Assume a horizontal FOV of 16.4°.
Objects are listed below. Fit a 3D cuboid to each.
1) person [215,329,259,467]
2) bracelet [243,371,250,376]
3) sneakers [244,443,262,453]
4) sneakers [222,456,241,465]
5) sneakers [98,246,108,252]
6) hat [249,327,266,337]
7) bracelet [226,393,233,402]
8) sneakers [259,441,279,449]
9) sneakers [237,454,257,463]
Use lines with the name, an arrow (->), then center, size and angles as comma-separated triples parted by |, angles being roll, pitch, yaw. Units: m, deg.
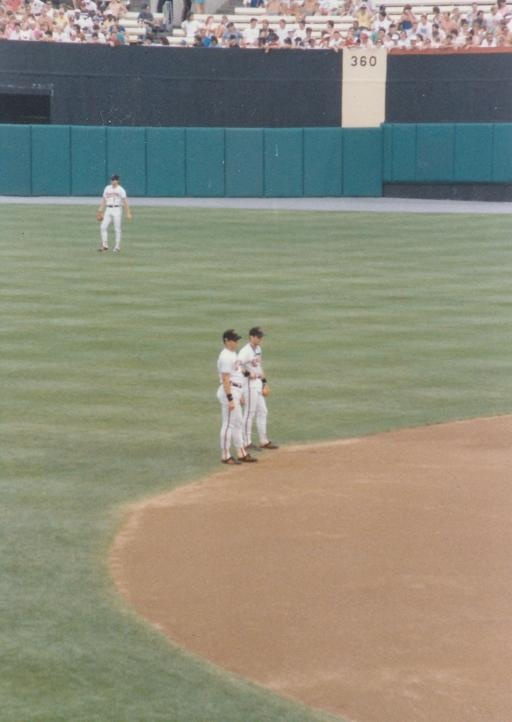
person -> -0.278, 0.452, 20.358 | 0.374, 1.609, 0.547 | 7, 15, 26
bracelet -> -0.122, 0.156, 20.633 | 0.047, 0.057, 0.055 | 2, 4, 4
sneakers -> -0.057, 1.042, 21.039 | 0.193, 0.105, 0.081 | 1, 7, 9
sneakers -> -0.296, 1.154, 20.613 | 0.206, 0.112, 0.087 | 0, 4, 16
sneakers -> -2.720, -1.976, 31.799 | 0.180, 0.159, 0.067 | 6, 11, 31
hat -> -0.011, -0.310, 20.526 | 0.123, 0.087, 0.106 | -1, 13, -3
bracelet -> -0.308, 0.424, 20.088 | 0.064, 0.089, 0.073 | -4, 2, -33
sneakers -> 0.129, 0.991, 21.140 | 0.214, 0.131, 0.095 | 1, 5, 1
sneakers -> -0.116, 1.154, 20.709 | 0.224, 0.130, 0.092 | 0, 10, -5
